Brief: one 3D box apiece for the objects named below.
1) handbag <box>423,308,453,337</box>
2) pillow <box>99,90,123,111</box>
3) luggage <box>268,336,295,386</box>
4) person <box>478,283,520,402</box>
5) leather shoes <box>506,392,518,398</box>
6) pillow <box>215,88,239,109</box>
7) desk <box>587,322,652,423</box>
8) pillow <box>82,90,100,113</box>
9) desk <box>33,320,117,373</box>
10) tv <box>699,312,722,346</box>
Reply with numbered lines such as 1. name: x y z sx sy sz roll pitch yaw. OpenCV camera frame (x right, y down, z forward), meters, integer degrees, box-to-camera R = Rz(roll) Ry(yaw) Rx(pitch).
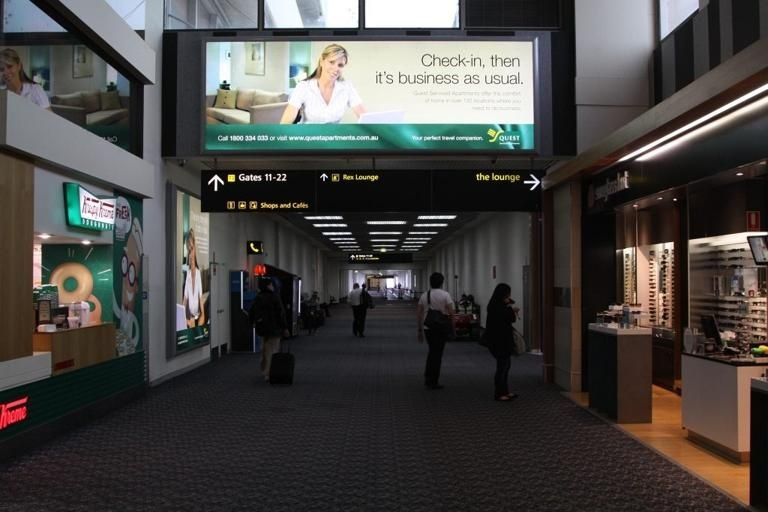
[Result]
1. handbag: 0.953 1.146 9.383 0.441 0.392 0.192 7 -2 -5
2. pillow: -4.930 -2.830 9.875 0.342 0.343 0.128 -1 -2 -7
3. luggage: -1.897 1.914 10.321 0.420 1.169 0.276 5 -44 -7
4. person: 1.919 1.388 8.993 0.507 1.905 0.766 0 1 14
5. leather shoes: 2.115 2.281 8.912 0.076 0.095 0.230 -2 -14 5
6. pillow: -2.961 -3.001 10.330 0.367 0.375 0.135 1 -2 0
7. desk: 3.433 1.710 7.845 0.421 1.281 1.242 0 -6 -1
8. pillow: -5.319 -2.816 9.912 0.352 0.454 0.169 -6 -7 3
9. desk: -4.486 1.327 7.988 0.232 0.629 1.333 0 2 11
10. tv: 4.454 0.954 7.306 0.106 0.485 0.325 -6 -1 -17
